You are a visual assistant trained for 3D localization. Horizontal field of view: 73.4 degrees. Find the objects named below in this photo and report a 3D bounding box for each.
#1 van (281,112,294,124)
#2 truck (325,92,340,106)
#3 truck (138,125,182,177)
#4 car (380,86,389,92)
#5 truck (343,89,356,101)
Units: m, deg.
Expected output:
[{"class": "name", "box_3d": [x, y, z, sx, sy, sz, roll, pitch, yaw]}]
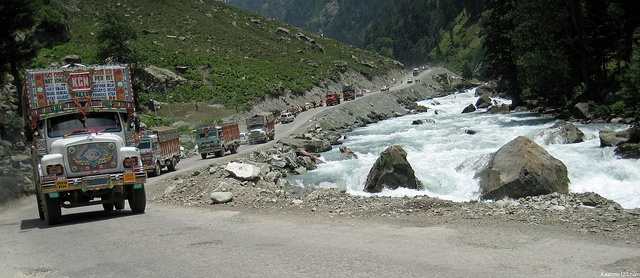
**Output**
[{"class": "van", "box_3d": [-8.133, -5.201, 107.991, 3.043, 2.746, 2.361, -6, 6, -35]}, {"class": "truck", "box_3d": [3.585, -11.200, 124.427, 2.681, 2.173, 5.347, -2, -1, 13]}, {"class": "truck", "box_3d": [-25.958, 2.227, 69.109, 4.448, 4.254, 9.257, -2, 3, 3]}, {"class": "car", "box_3d": [21.875, -16.811, 144.860, 2.292, 1.463, 3.447, -1, -3, 14]}, {"class": "truck", "box_3d": [8.831, -13.374, 129.821, 2.894, 1.938, 4.072, -2, -1, 9]}]
